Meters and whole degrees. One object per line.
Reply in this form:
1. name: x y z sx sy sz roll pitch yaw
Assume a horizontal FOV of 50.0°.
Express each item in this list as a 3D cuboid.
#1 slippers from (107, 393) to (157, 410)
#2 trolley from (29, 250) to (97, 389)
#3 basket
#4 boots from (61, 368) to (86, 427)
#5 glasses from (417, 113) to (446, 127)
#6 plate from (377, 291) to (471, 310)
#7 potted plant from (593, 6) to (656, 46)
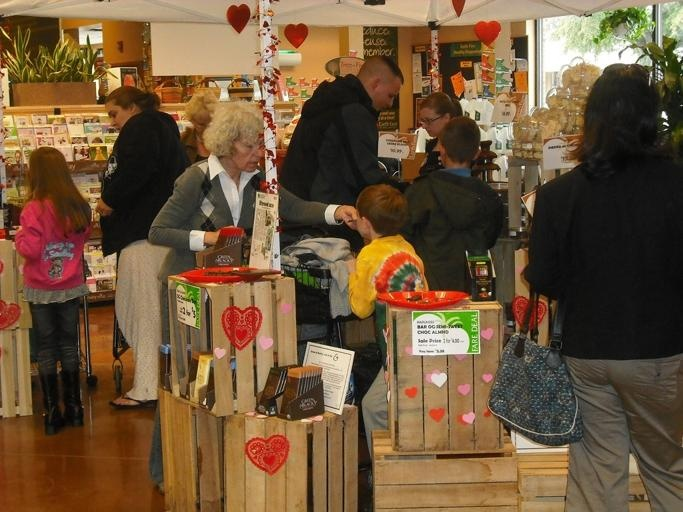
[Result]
1. slippers: -1.618 1.109 5.646 0.313 0.088 0.133 4 -3 -8
2. trolley: -2.330 0.565 5.995 0.536 0.972 0.691 2 -11 -21
3. basket: -0.129 0.185 3.815 0.254 0.208 0.389 -4 9 -25
4. boots: -1.962 1.042 5.301 0.192 0.464 0.468 -3 3 -19
5. glasses: 0.744 -1.066 5.782 0.123 0.036 0.121 -27 17 -23
6. plate: 0.365 0.194 3.353 0.402 0.043 0.267 2 8 25
7. potted plant: 4.043 -3.282 10.420 0.781 0.687 1.828 1 8 23
